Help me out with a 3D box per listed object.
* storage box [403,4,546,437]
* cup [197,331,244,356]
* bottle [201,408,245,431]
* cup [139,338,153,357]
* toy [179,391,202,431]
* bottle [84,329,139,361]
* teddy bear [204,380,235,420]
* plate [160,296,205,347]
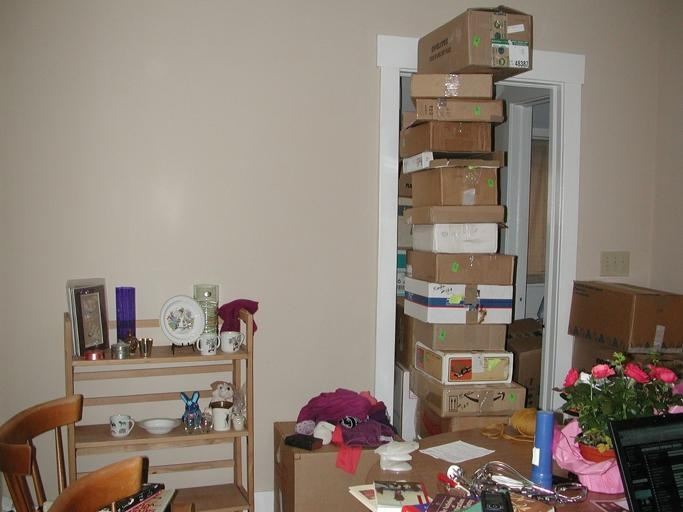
[{"bbox_3d":[0.689,-0.097,3.216,0.736,2.558,0.597,0,10,11],"label":"storage box"},{"bbox_3d":[-0.633,0.438,2.947,0.199,0.096,0.109,-7,8,-26],"label":"cup"},{"bbox_3d":[-0.609,0.846,2.920,0.209,0.118,0.111,-3,10,-10],"label":"bottle"},{"bbox_3d":[-0.980,0.456,2.814,0.075,0.090,0.080,1,-2,0],"label":"cup"},{"bbox_3d":[-0.793,0.781,2.970,0.105,0.217,0.273,-4,10,-16],"label":"toy"},{"bbox_3d":[-1.167,0.459,2.832,0.266,0.099,0.206,-6,11,-24],"label":"bottle"},{"bbox_3d":[-0.636,0.769,3.001,0.181,0.218,0.139,3,-13,-15],"label":"teddy bear"},{"bbox_3d":[-0.816,0.352,2.900,0.209,0.290,0.141,2,10,19],"label":"plate"}]
